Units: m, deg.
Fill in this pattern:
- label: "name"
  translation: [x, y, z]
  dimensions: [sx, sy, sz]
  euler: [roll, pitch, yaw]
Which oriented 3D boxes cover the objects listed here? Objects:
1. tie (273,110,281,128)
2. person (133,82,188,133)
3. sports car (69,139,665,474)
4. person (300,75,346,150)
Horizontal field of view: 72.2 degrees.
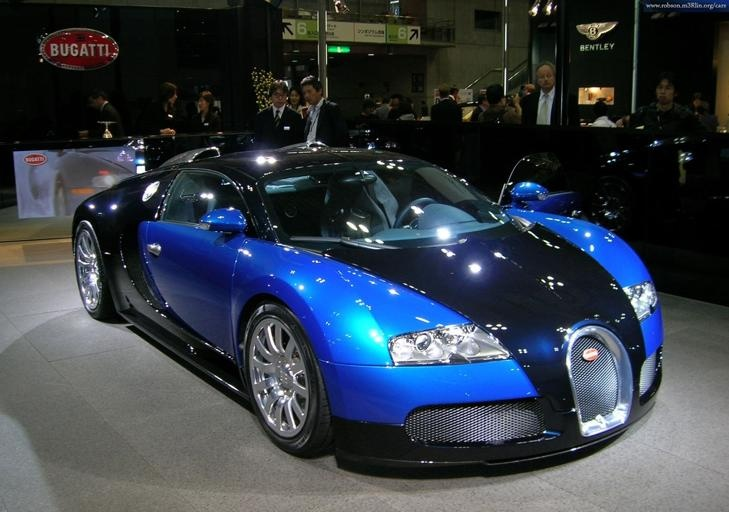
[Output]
- label: "tie"
  translation: [-1.435, -2.257, 8.250]
  dimensions: [0.157, 0.293, 0.068]
  euler: [1, -9, 9]
- label: "person"
  translation: [-4.396, -3.087, 10.871]
  dimensions: [0.687, 1.194, 1.233]
  euler: [20, 17, 14]
- label: "sports car"
  translation: [-0.366, 0.175, 3.489]
  dimensions: [2.086, 1.031, 3.526]
  euler: [-10, 16, -39]
- label: "person"
  translation: [-0.678, -2.301, 7.980]
  dimensions: [0.828, 1.048, 0.545]
  euler: [16, 23, 40]
